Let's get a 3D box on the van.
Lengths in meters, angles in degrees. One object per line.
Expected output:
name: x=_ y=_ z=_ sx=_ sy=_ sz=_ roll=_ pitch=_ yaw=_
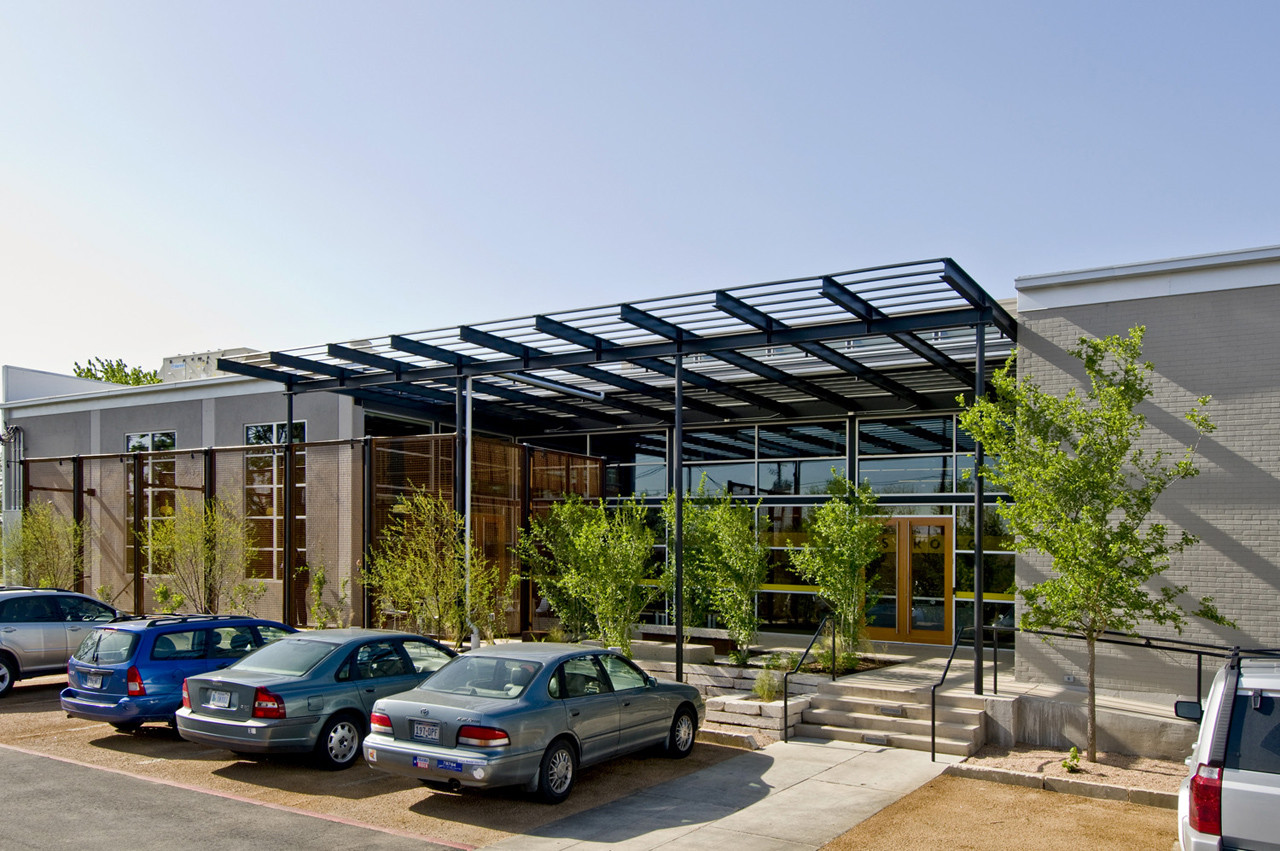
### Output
van: x=-8.370 y=4.429 z=19.313 sx=1.899 sy=1.411 sz=4.304 roll=-3 pitch=-2 yaw=36

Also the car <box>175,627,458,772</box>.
car: x=-5.064 y=4.513 z=17.905 sx=1.970 sy=1.378 sz=4.402 roll=-1 pitch=-1 yaw=35

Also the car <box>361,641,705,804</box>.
car: x=-1.360 y=4.515 z=17.147 sx=2.089 sy=1.492 sz=4.693 roll=-2 pitch=-2 yaw=36
